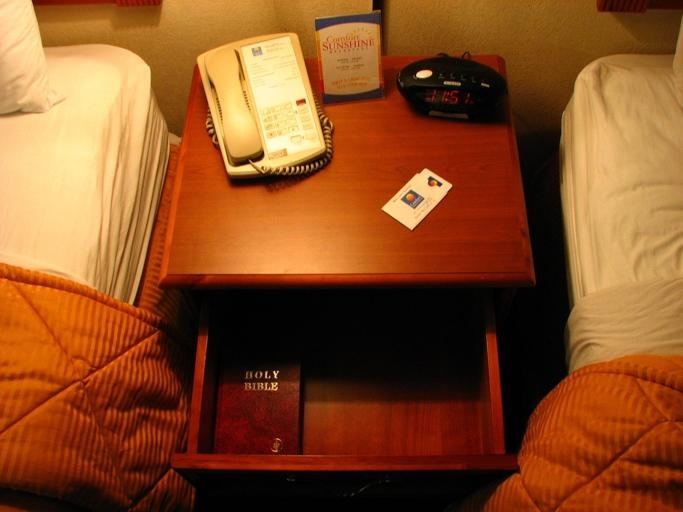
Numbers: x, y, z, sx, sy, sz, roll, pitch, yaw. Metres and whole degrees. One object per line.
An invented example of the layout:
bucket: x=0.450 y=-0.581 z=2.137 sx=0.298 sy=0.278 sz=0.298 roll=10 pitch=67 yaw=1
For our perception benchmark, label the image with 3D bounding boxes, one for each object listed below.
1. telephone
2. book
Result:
telephone: x=-0.218 y=-0.390 z=1.481 sx=0.349 sy=0.113 sz=0.530 roll=-11 pitch=77 yaw=-1
book: x=-0.216 y=0.431 z=1.594 sx=0.201 sy=0.054 sz=0.234 roll=-4 pitch=68 yaw=2
